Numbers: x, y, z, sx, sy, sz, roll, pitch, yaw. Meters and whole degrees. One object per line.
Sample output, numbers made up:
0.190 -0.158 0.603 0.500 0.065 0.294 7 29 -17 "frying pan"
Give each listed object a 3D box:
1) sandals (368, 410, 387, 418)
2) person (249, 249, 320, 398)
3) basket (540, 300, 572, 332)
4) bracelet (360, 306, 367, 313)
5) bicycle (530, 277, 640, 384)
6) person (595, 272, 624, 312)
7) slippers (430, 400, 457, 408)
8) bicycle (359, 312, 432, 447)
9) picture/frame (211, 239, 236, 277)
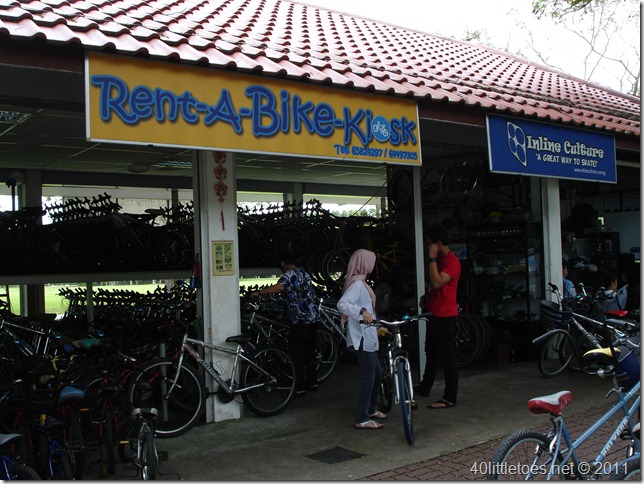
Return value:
0.713 2.151 7.163 0.194 0.081 0.101 1 -2 -4 "sandals"
-0.343 1.247 8.350 0.608 2.006 0.867 -1 0 13 "person"
3.869 1.213 9.574 0.496 0.454 0.400 17 16 41 "basket"
0.496 0.785 6.686 0.052 0.051 0.054 -5 25 -26 "bracelet"
3.665 1.515 9.037 2.371 1.492 1.175 2 -4 -21 "bicycle"
5.157 0.909 10.367 0.496 0.715 0.801 -8 -26 36 "person"
1.604 2.168 7.670 0.300 0.074 0.131 4 -15 -10 "slippers"
0.981 1.550 7.213 0.933 1.376 2.246 -8 1 8 "bicycle"
-1.257 0.184 7.357 0.465 0.652 0.045 -3 2 -41 "picture/frame"
